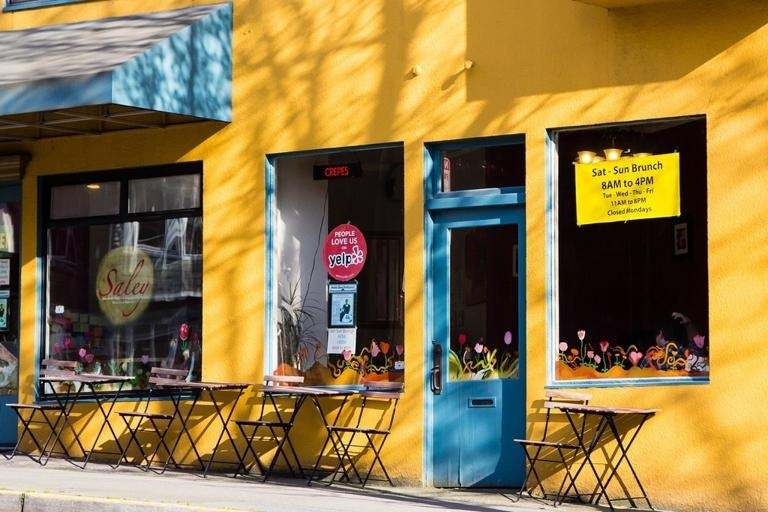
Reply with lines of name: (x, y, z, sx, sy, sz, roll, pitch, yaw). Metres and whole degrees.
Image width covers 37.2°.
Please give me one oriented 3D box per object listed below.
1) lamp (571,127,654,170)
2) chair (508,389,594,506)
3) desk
lamp: (2.653, -1.274, 13.548, 0.496, 0.457, 0.512, 2, -2, 4)
chair: (2.009, 2.291, 13.407, 0.994, 1.804, 0.967, -3, -15, 32)
desk: (2.537, 2.267, 13.224, 1.143, 1.352, 1.198, -6, -14, 35)
